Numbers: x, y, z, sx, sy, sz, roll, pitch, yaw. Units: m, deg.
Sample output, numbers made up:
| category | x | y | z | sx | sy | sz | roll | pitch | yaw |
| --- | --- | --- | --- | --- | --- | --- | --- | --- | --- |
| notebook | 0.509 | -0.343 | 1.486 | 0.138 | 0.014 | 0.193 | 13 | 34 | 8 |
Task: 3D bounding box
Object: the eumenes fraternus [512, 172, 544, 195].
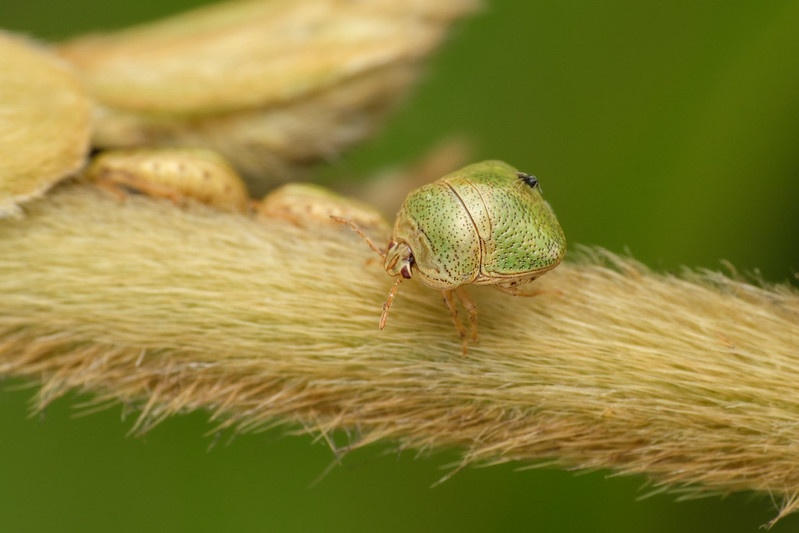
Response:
| category | x | y | z | sx | sy | sz | roll | pitch | yaw |
| --- | --- | --- | --- | --- | --- | --- | --- | --- | --- |
| eumenes fraternus | 0.396 | -0.246 | 2.636 | 0.068 | 0.074 | 0.023 | 34 | 104 | 8 |
